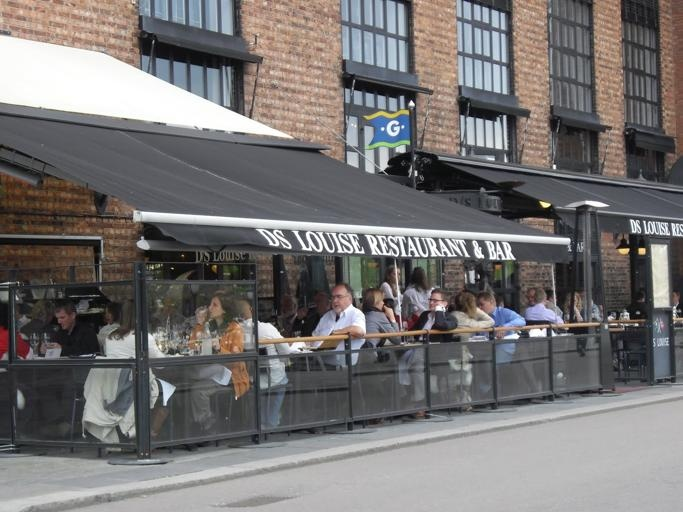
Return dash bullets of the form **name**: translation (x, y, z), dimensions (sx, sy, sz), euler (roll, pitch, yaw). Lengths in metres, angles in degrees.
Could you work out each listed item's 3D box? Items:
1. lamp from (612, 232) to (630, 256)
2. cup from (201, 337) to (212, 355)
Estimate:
- **lamp**: translation (6.967, -0.300, 31.669), dimensions (0.518, 0.739, 0.527), euler (0, -7, 3)
- **cup**: translation (-1.876, 1.251, 17.738), dimensions (0.195, 0.317, 0.198), euler (-1, -2, 0)
